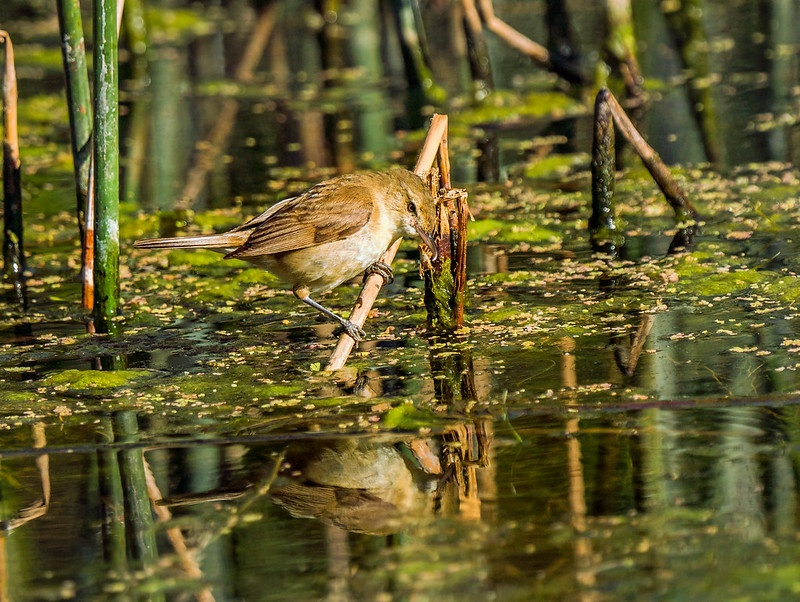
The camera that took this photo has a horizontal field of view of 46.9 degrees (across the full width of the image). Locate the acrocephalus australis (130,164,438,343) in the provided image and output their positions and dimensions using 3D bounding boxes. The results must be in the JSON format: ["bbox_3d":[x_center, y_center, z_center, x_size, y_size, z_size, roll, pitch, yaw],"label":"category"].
[{"bbox_3d":[-0.682,-0.449,6.733,2.248,0.688,0.813,3,6,20],"label":"acrocephalus australis"}]
